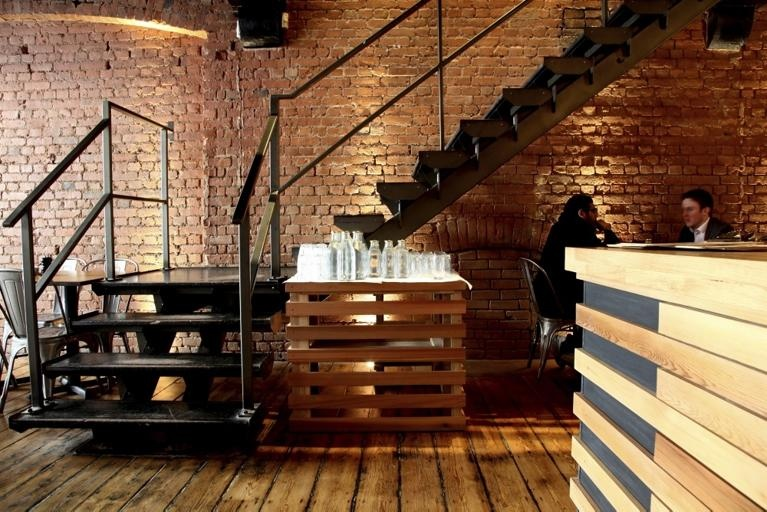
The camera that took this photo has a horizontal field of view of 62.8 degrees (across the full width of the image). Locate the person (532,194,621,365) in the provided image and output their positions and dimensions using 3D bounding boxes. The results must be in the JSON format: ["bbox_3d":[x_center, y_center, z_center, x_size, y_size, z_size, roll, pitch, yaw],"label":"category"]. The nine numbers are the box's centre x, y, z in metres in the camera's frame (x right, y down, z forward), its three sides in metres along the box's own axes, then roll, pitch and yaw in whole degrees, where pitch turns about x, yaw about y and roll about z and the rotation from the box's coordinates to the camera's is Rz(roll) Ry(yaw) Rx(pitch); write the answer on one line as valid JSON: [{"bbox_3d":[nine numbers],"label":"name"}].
[{"bbox_3d":[1.775,0.180,5.797,0.896,1.366,0.701,-2,12,-11],"label":"person"}]

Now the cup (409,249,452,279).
[{"bbox_3d":[0.350,0.060,4.953,0.263,0.137,0.245,0,3,0],"label":"cup"}]
